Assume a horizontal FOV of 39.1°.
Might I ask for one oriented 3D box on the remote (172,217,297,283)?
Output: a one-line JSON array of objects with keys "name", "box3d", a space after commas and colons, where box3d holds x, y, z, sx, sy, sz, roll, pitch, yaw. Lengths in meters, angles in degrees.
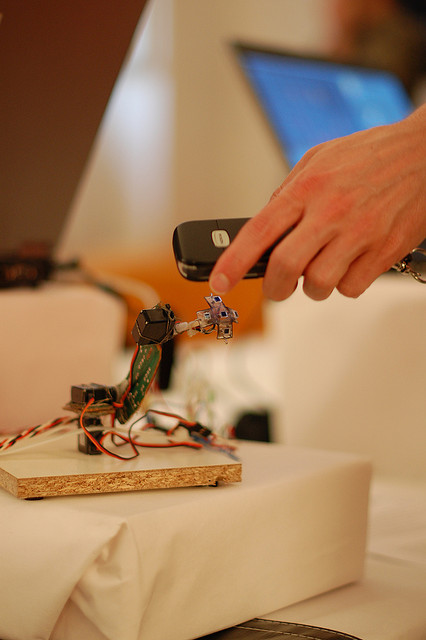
[{"name": "remote", "box3d": [0.014, -0.052, 0.446, 0.084, 0.019, 0.044, -6, 48, -4]}]
